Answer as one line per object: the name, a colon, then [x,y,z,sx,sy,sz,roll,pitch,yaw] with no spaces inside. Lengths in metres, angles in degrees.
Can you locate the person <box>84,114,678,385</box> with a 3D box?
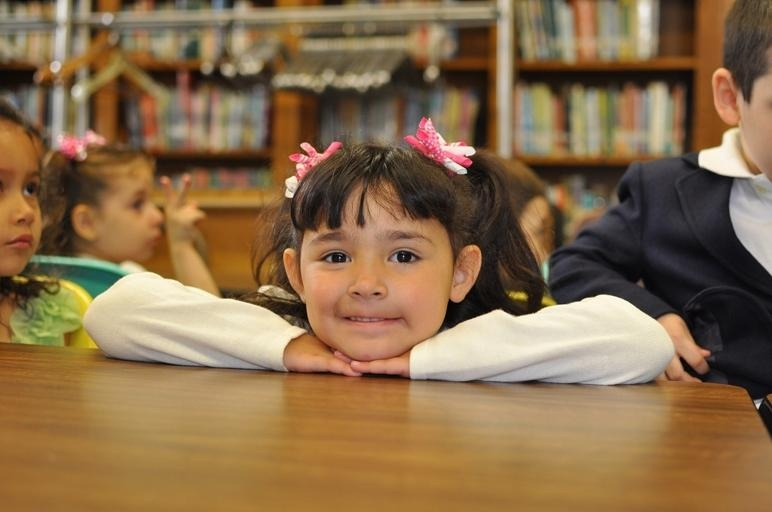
person: [-0.013,-0.009,1.504,0.968,0.406,0.403,2,3,7]
